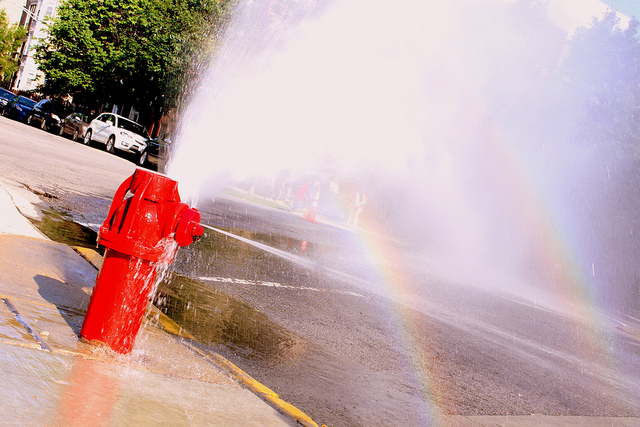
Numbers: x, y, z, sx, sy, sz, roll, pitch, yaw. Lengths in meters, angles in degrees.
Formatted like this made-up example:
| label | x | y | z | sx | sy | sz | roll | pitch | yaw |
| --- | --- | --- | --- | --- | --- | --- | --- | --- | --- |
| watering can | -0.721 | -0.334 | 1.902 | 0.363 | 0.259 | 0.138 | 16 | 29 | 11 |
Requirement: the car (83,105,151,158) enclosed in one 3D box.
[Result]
| label | x | y | z | sx | sy | sz | roll | pitch | yaw |
| --- | --- | --- | --- | --- | --- | --- | --- | --- | --- |
| car | -10.266 | -3.938 | 24.083 | 4.083 | 1.999 | 2.155 | 17 | -4 | 34 |

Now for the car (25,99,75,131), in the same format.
| label | x | y | z | sx | sy | sz | roll | pitch | yaw |
| --- | --- | --- | --- | --- | --- | --- | --- | --- | --- |
| car | -16.430 | -6.104 | 28.328 | 1.953 | 1.768 | 3.945 | 1 | -1 | -32 |

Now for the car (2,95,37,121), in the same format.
| label | x | y | z | sx | sy | sz | roll | pitch | yaw |
| --- | --- | --- | --- | --- | --- | --- | --- | --- | --- |
| car | -20.153 | -7.243 | 31.259 | 1.631 | 1.333 | 3.534 | 13 | -3 | -30 |

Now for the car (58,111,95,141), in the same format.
| label | x | y | z | sx | sy | sz | roll | pitch | yaw |
| --- | --- | --- | --- | --- | --- | --- | --- | --- | --- |
| car | -13.055 | -4.740 | 25.239 | 1.336 | 1.163 | 2.402 | 1 | -4 | -40 |

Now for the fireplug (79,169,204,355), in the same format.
| label | x | y | z | sx | sy | sz | roll | pitch | yaw |
| --- | --- | --- | --- | --- | --- | --- | --- | --- | --- |
| fireplug | -1.412 | 0.374 | 3.579 | 0.666 | 1.470 | 0.367 | 20 | 0 | 15 |
